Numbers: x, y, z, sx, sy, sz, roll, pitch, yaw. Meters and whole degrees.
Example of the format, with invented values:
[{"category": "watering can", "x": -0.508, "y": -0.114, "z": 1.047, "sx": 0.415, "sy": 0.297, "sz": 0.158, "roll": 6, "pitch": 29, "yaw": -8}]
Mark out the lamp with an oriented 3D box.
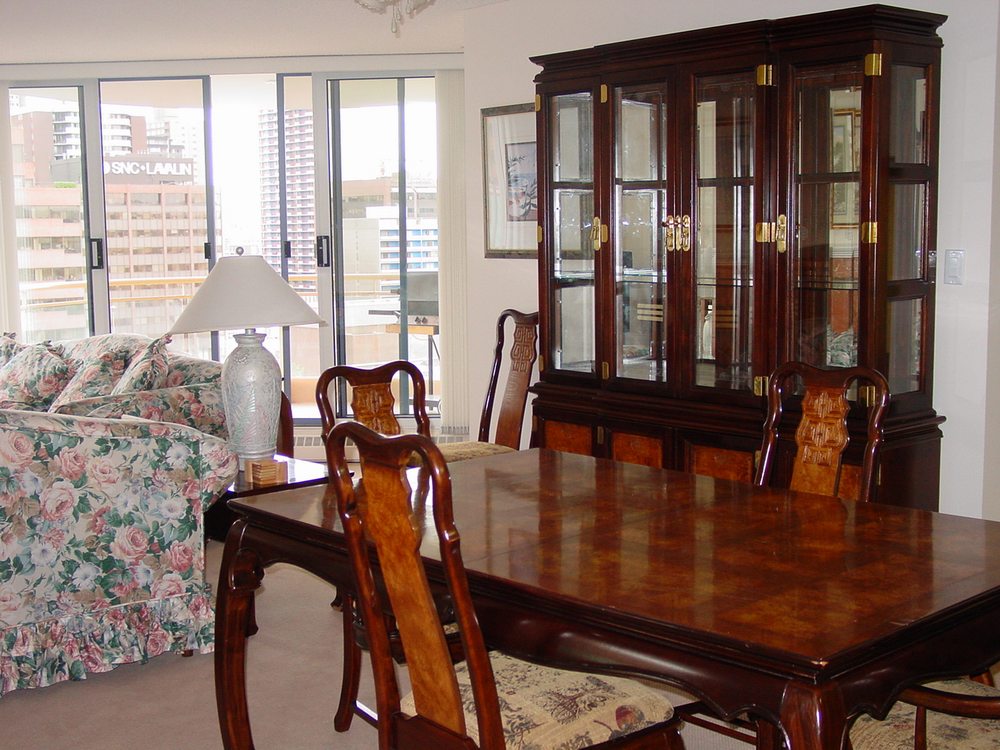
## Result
[{"category": "lamp", "x": -1.078, "y": -0.079, "z": 3.526, "sx": 0.628, "sy": 0.833, "sz": 0.638, "roll": 6, "pitch": -5, "yaw": -37}]
